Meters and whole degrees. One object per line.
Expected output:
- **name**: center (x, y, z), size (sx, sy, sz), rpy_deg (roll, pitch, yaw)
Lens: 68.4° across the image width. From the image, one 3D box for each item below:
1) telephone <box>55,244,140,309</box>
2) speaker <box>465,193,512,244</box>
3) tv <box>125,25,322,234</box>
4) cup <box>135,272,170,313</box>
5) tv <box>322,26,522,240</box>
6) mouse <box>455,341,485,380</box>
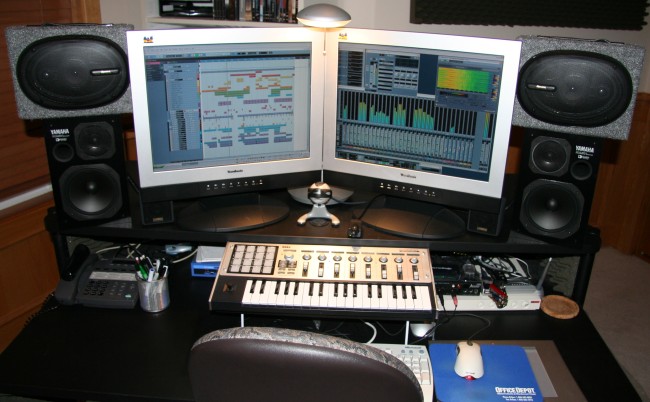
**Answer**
- **telephone**: center (-0.974, 0.340, 2.111), size (0.365, 0.136, 0.270), rpy_deg (9, 33, 9)
- **speaker**: center (0.739, 0.053, 2.113), size (0.155, 0.148, 0.166), rpy_deg (-13, 14, -30)
- **tv**: center (-0.405, -0.322, 2.108), size (0.974, 0.835, 0.313), rpy_deg (-2, 6, 16)
- **cup**: center (-0.734, 0.387, 2.070), size (0.140, 0.141, 0.135), rpy_deg (-3, 14, 1)
- **tv**: center (0.410, -0.291, 2.046), size (0.957, 0.867, 0.123), rpy_deg (8, 20, 15)
- **mouse**: center (0.552, 0.605, 1.817), size (0.114, 0.116, 0.088), rpy_deg (9, 22, 17)
